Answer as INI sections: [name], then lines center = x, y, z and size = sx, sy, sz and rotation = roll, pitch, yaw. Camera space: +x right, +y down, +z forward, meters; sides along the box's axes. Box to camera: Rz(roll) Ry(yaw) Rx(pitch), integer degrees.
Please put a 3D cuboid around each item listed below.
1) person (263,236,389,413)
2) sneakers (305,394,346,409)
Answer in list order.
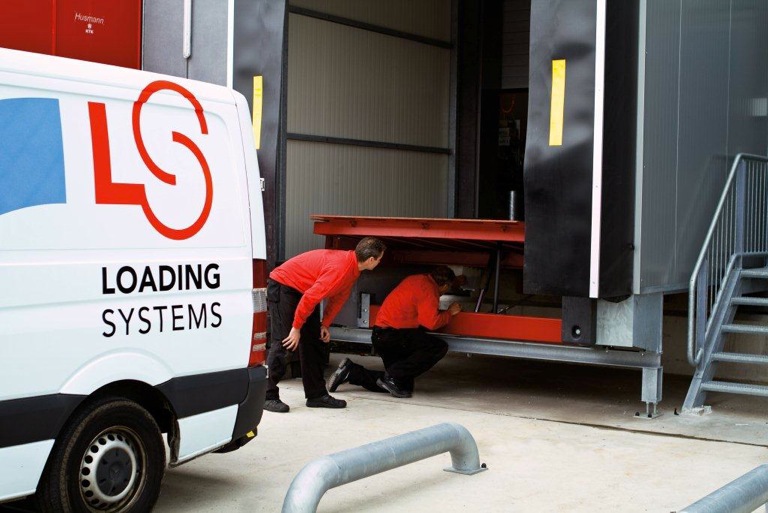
[person]
center = -0.700, 0.728, 7.352
size = 1.088, 1.883, 0.762
rotation = 1, 2, -15
[sneakers]
center = -0.654, 1.595, 7.674
size = 0.428, 0.169, 0.171
rotation = -1, 0, -1
